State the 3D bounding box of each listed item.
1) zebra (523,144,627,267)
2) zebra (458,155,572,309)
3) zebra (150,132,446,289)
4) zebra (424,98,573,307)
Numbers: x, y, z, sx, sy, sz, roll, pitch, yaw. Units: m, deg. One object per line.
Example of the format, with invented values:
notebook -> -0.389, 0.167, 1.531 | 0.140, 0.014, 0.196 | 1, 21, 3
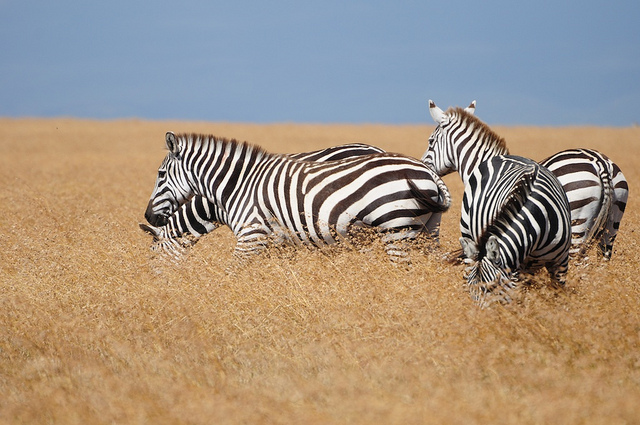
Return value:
zebra -> 3.523, 0.061, 11.849 | 0.687, 1.735, 2.278 | 0, -6, -2
zebra -> 2.272, 0.127, 9.817 | 0.878, 1.337, 2.257 | -3, 21, 18
zebra -> -0.379, -0.112, 10.875 | 3.909, 1.631, 1.736 | 4, 16, 18
zebra -> 2.171, 0.042, 10.931 | 0.969, 2.364, 3.414 | -3, 16, -21
